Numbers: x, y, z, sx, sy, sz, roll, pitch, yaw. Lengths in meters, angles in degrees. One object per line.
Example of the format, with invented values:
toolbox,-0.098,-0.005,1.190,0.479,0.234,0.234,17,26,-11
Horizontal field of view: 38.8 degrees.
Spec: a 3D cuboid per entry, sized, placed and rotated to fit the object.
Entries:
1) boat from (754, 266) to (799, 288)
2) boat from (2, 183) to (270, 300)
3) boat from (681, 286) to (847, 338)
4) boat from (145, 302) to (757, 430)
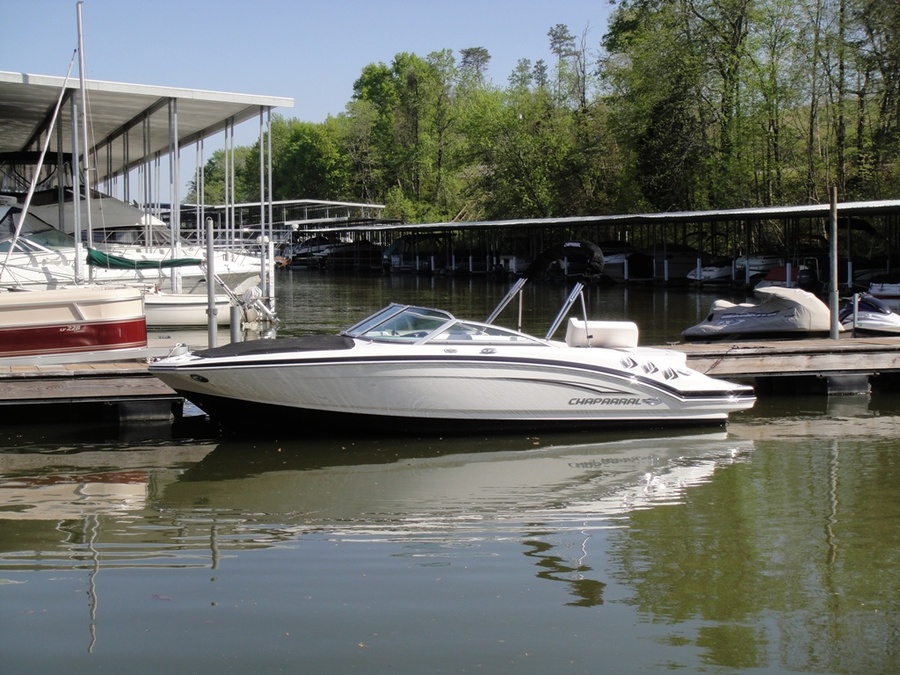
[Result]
boat,9.313,-1.712,35.832,1.344,0.329,0.841,0,-1,24
boat,-5.365,-2.377,30.872,10.250,2.493,2.613,-1,4,-19
boat,5.514,-0.488,21.880,2.664,0.630,1.659,-2,10,39
boat,1.375,0.581,18.032,10.515,1.690,2.302,2,-4,-10
